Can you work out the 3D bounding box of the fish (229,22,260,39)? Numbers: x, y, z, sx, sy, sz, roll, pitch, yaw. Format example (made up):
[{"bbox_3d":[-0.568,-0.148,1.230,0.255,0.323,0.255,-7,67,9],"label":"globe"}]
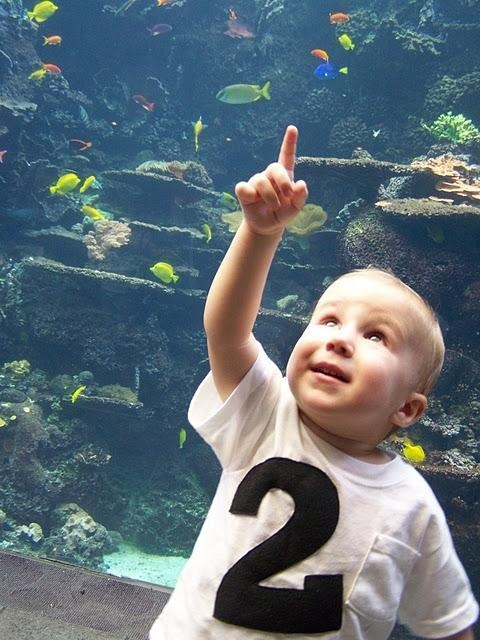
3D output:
[{"bbox_3d":[0.065,-6.334,13.432,0.660,0.221,0.309,9,-5,-35],"label":"fish"}]

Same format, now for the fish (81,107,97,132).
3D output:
[{"bbox_3d":[-3.446,-4.498,13.621,0.277,0.426,0.116,-35,51,-27],"label":"fish"}]

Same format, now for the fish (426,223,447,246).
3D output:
[{"bbox_3d":[2.825,-1.227,8.736,0.218,0.074,0.304,27,-20,26],"label":"fish"}]
